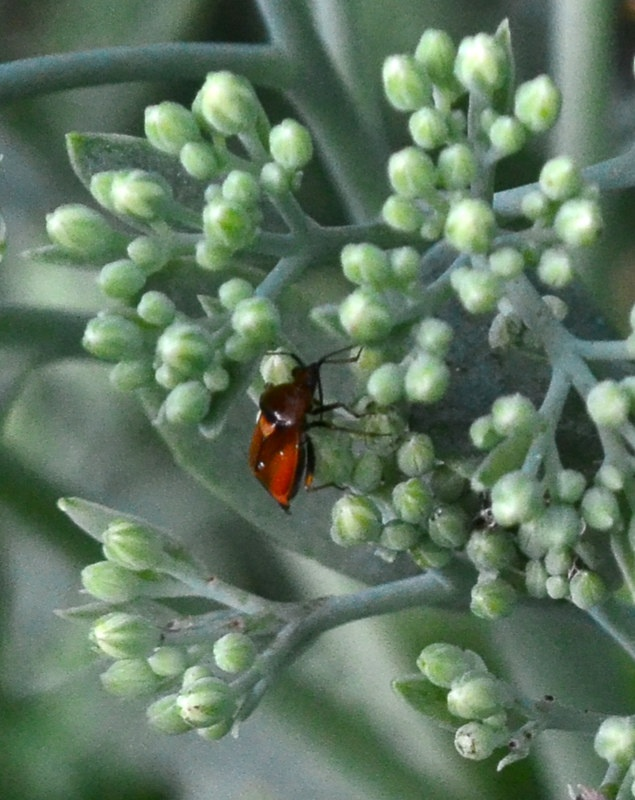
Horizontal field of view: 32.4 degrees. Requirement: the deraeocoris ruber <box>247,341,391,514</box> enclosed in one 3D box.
[{"bbox_3d":[-0.012,0.056,1.379,0.158,0.213,0.183,30,40,35],"label":"deraeocoris ruber"}]
